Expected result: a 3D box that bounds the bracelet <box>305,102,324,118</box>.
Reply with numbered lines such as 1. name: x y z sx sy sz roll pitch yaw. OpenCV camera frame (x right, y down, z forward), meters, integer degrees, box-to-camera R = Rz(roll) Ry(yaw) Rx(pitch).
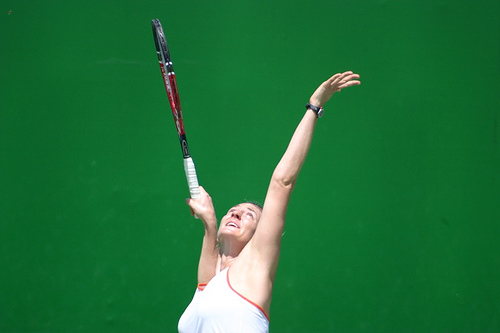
1. bracelet: 0.668 -0.596 5.903 0.164 0.180 0.120 19 70 23
